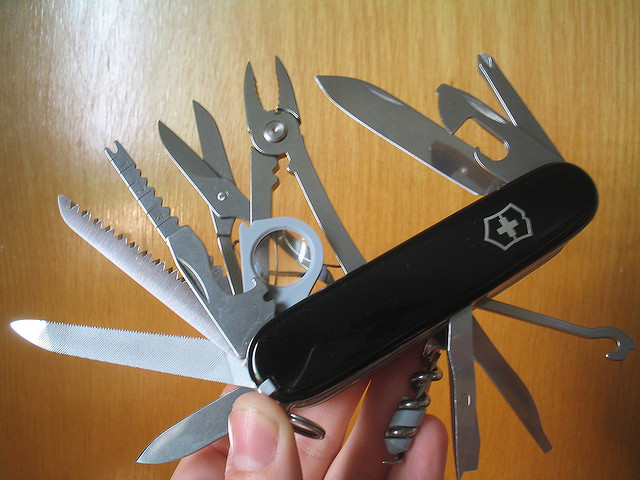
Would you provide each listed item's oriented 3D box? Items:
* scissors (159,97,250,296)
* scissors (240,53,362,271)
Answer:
[{"bbox_3d":[-0.287,-0.153,1.965,0.180,0.566,0.043,-24,-20,-10],"label":"scissors"},{"bbox_3d":[-0.095,-0.243,2.064,0.289,0.643,0.046,-11,-11,-1],"label":"scissors"}]
